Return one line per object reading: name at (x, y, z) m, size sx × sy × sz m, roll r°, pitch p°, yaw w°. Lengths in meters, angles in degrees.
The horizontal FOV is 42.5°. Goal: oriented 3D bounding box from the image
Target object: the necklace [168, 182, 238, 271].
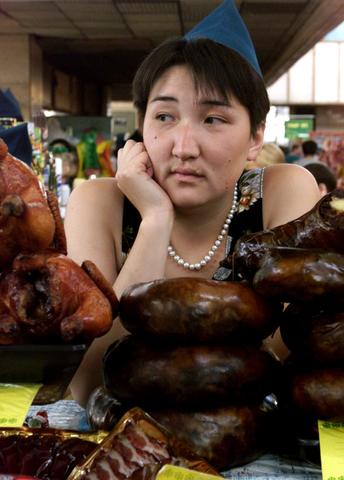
necklace at (0.115, -0.035, 1.295) m, size 0.164 × 0.220 × 0.034 m, roll -7°, pitch 21°, yaw -29°
